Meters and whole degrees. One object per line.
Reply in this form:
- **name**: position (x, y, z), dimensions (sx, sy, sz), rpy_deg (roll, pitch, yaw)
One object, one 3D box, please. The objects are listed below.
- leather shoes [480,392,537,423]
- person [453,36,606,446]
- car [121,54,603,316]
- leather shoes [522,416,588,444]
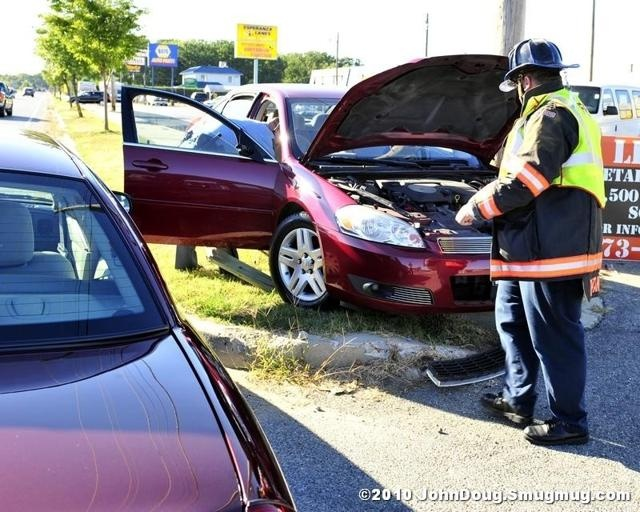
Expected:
- **leather shoes**: position (1.061, 0.884, 3.510), dimensions (0.117, 0.104, 0.298), rpy_deg (-9, 30, -45)
- **person**: position (1.180, -0.075, 3.280), dimensions (0.642, 2.151, 0.586), rpy_deg (-9, 13, -34)
- **car**: position (0.133, -0.631, 4.922), dimensions (2.439, 0.968, 2.471), rpy_deg (-4, 9, -35)
- **leather shoes**: position (1.268, 0.952, 3.339), dimensions (0.331, 0.161, 0.137), rpy_deg (2, 2, 6)
